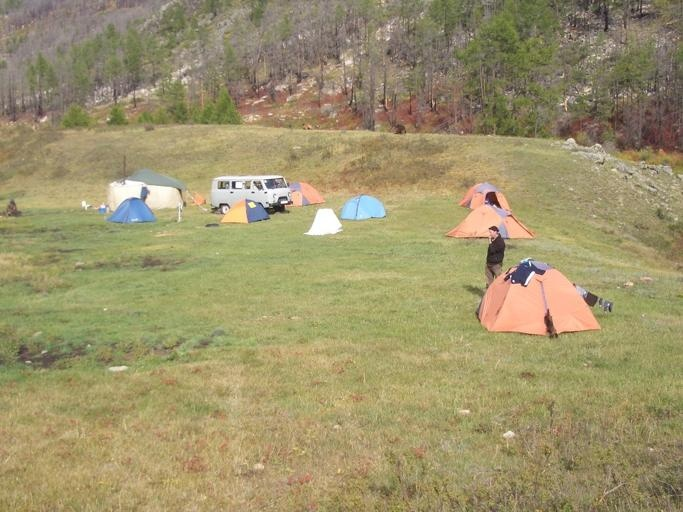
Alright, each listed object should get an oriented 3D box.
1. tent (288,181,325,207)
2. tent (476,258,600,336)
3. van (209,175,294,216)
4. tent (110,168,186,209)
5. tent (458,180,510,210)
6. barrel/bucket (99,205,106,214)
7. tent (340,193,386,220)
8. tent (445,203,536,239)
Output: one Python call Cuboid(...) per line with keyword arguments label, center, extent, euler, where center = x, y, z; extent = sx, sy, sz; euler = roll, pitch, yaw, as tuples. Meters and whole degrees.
Cuboid(label="tent", center=(-3.220, -5.540, 70.906), extent=(2.114, 1.372, 2.400), euler=(-9, 14, -35))
Cuboid(label="tent", center=(12.318, 2.413, 49.952), extent=(8.843, 4.380, 8.692), euler=(-4, -1, -39))
Cuboid(label="van", center=(-7.889, -5.404, 68.792), extent=(5.939, 3.761, 3.919), euler=(0, 6, 28))
Cuboid(label="tent", center=(-16.994, -6.034, 72.329), extent=(5.841, 3.456, 5.016), euler=(0, -2, -12))
Cuboid(label="tent", center=(12.096, -4.771, 65.720), extent=(2.575, 1.620, 2.821), euler=(-8, 12, -36))
Cuboid(label="barrel/bucket", center=(-21.132, -4.180, 70.110), extent=(0.745, 0.718, 0.785), euler=(0, 0, 0))
Cuboid(label="tent", center=(1.602, -3.772, 64.694), extent=(2.344, 1.381, 2.324), euler=(-7, 8, -38))
Cuboid(label="tent", center=(11.055, -2.303, 58.906), extent=(6.144, 2.608, 6.776), euler=(4, 14, 14))
